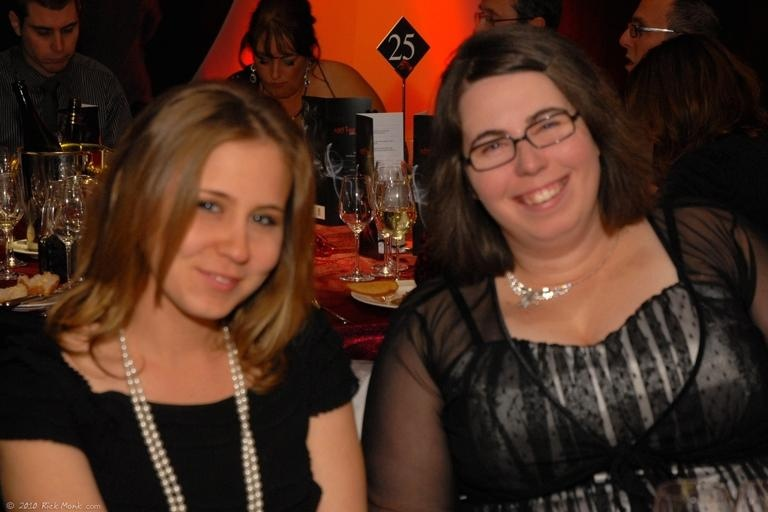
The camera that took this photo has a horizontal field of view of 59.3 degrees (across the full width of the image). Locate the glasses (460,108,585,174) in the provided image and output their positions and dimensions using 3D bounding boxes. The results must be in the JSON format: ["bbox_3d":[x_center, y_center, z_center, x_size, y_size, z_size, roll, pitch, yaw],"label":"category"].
[{"bbox_3d":[0.466,-0.385,2.264,0.383,0.179,0.076,-5,-12,8],"label":"glasses"}]
